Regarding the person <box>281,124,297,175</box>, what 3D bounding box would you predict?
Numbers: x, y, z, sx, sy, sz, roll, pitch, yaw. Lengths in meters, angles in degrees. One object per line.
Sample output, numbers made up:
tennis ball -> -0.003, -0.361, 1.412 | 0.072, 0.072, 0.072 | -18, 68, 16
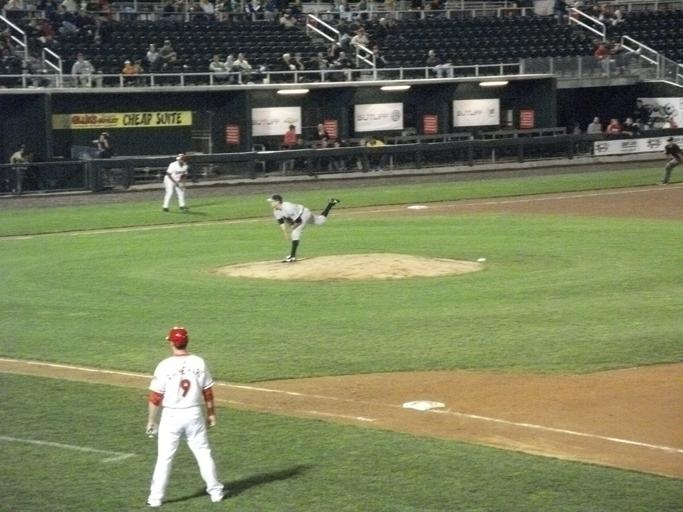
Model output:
person -> -1.859, -4.296, 53.573 | 0.824, 1.719, 0.570 | -10, 20, -19

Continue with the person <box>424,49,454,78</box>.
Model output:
person -> 4.096, -8.172, 57.049 | 0.818, 0.867, 1.968 | -7, 41, -3

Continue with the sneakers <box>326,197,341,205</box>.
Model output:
sneakers -> -0.183, -1.444, 35.975 | 0.321, 0.140, 0.411 | -1, 7, 1

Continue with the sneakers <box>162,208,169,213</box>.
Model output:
sneakers -> -5.687, -1.487, 44.061 | 0.161, 0.124, 0.351 | -4, 12, -16

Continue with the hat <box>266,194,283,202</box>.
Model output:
hat -> -1.655, -1.443, 34.209 | 0.274, 0.208, 0.416 | -1, 4, 7

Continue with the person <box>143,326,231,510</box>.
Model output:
person -> -2.778, 2.846, 23.774 | 1.326, 3.199, 0.367 | -2, 6, -6
